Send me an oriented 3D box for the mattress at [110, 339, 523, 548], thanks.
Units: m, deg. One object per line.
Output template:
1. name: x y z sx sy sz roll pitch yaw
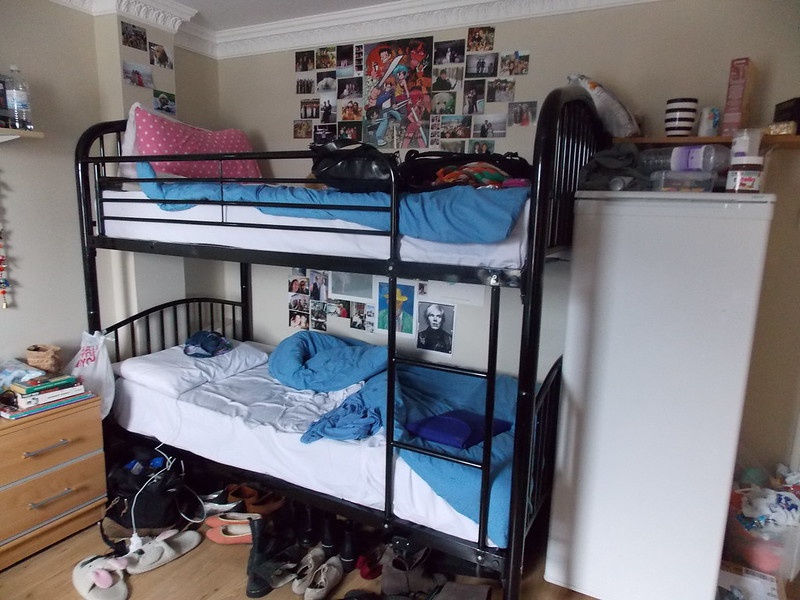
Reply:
1. mattress: -0.455 0.678 3.235 1.878 0.494 0.957 9 18 29

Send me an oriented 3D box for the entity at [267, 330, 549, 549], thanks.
1. entity: -0.048 0.561 3.192 1.274 0.547 0.770 16 23 24

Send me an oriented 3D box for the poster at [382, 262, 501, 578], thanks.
1. poster: 0.193 0.599 2.892 0.567 1.550 0.506 2 14 11

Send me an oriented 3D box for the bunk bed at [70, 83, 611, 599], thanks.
1. bunk bed: -0.317 0.254 3.197 2.508 2.059 1.335 7 14 27

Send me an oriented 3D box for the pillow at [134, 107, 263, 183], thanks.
1. pillow: -1.200 -0.908 3.624 0.242 0.435 0.758 -20 -7 41

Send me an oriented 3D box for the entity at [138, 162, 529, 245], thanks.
1. entity: -0.328 -0.427 2.918 1.868 0.273 0.182 5 14 24
